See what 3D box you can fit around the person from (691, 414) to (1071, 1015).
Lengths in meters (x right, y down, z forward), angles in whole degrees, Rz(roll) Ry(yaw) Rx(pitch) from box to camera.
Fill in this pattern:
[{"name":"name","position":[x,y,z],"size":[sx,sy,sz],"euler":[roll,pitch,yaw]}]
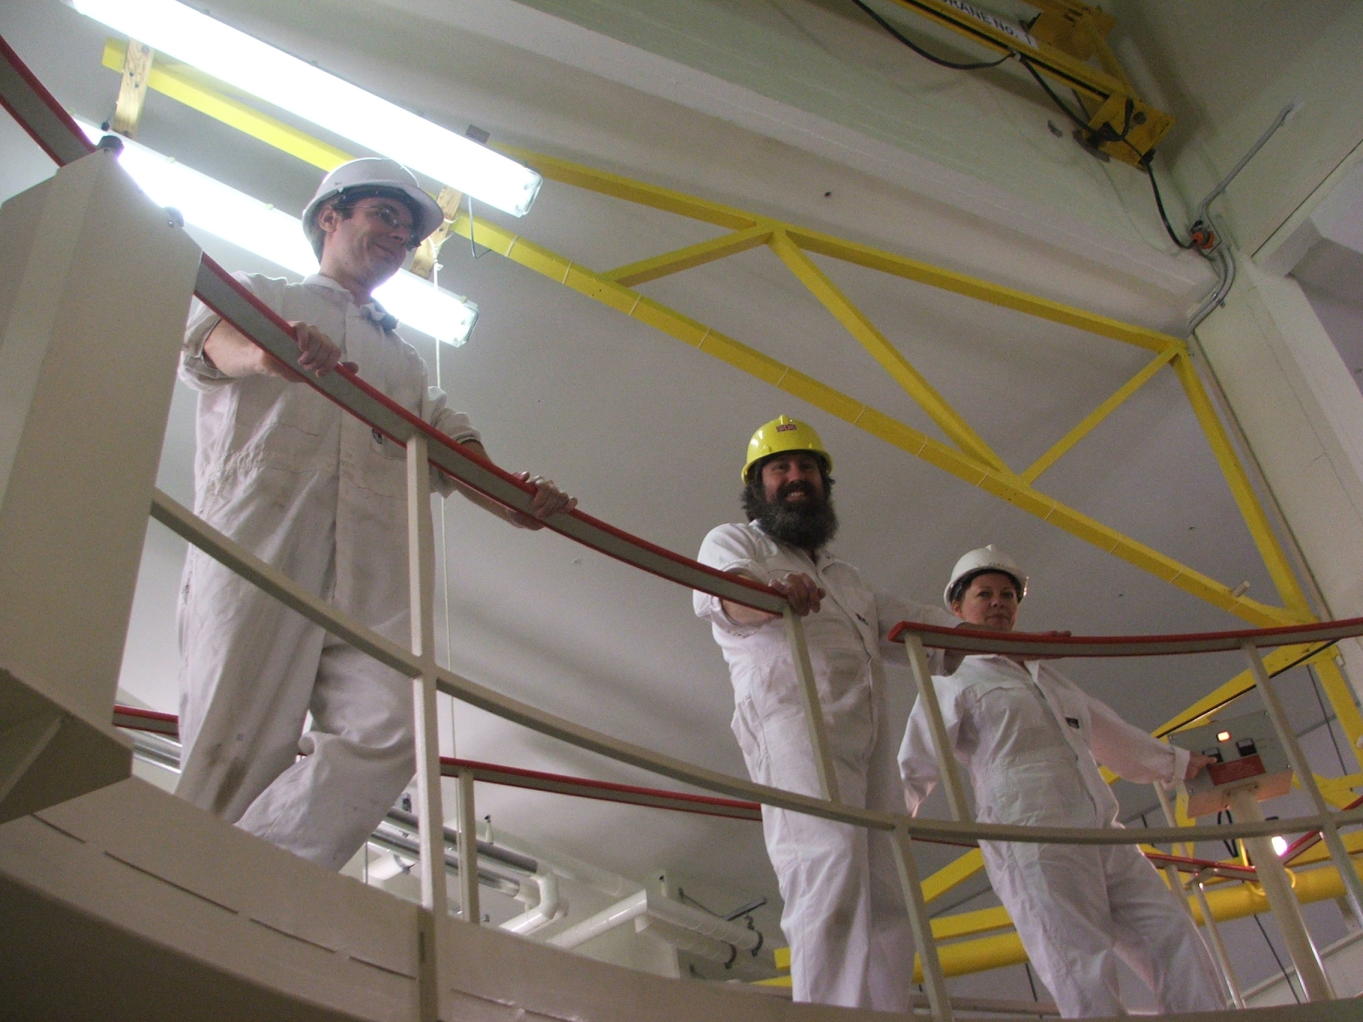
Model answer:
[{"name":"person","position":[0.490,0.525,4.317],"size":[0.933,2.804,0.757],"euler":[27,-45,-32]}]

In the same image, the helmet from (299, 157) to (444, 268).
[{"name":"helmet","position":[-1.117,-1.087,4.154],"size":[0.443,0.233,0.349],"euler":[-3,-36,-13]}]

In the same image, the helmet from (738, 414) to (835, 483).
[{"name":"helmet","position":[0.468,-0.303,5.365],"size":[0.333,0.241,0.447],"euler":[-3,-21,-2]}]

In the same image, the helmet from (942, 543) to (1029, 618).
[{"name":"helmet","position":[1.554,0.275,5.967],"size":[0.407,0.259,0.594],"euler":[2,-29,7]}]

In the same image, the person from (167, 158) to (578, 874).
[{"name":"person","position":[-0.971,-0.027,3.557],"size":[1.070,2.549,0.915],"euler":[14,-29,-34]}]
